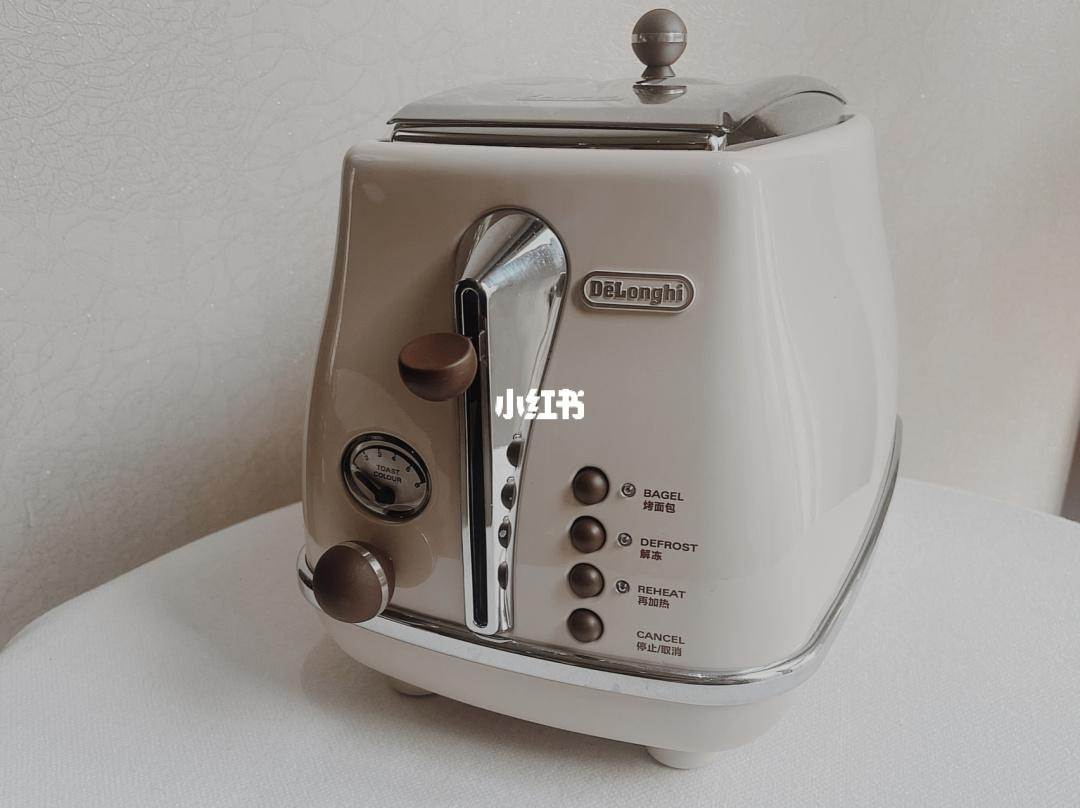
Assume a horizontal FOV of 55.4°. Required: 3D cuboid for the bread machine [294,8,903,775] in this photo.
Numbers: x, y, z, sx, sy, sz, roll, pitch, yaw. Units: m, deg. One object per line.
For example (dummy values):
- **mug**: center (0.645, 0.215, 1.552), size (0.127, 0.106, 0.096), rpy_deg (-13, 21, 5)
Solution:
- **bread machine**: center (0.042, -0.052, 0.617), size (0.263, 0.364, 0.349), rpy_deg (7, 16, 25)
